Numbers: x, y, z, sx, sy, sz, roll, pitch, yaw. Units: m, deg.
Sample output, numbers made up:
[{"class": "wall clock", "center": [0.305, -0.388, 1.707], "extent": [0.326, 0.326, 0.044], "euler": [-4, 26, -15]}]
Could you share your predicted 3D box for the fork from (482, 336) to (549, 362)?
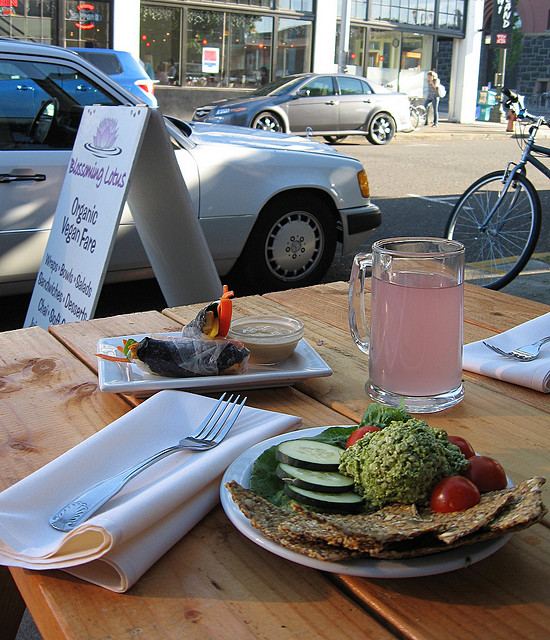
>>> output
[{"class": "fork", "center": [0.492, 0.045, 1.081], "extent": [0.197, 0.032, 0.035], "euler": [-10, 19, -25]}]

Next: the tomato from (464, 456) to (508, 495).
[{"class": "tomato", "center": [0.197, 0.144, 0.522], "extent": [0.032, 0.020, 0.037], "euler": [7, 7, -9]}]

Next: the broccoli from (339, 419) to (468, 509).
[{"class": "broccoli", "center": [0.108, 0.129, 0.498], "extent": [0.082, 0.034, 0.097], "euler": [-11, 9, 30]}]

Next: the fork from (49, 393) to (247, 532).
[{"class": "fork", "center": [-0.106, 0.146, 0.697], "extent": [0.052, 0.048, 0.364], "euler": [23, 30, 30]}]

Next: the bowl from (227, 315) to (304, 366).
[{"class": "bowl", "center": [-0.033, 0.049, 1.031], "extent": [0.151, 0.058, 0.136], "euler": [-1, 7, -15]}]

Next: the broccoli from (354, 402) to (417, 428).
[{"class": "broccoli", "center": [0.124, 0.096, 0.605], "extent": [0.055, 0.012, 0.050], "euler": [-6, 7, -35]}]

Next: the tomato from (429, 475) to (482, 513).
[{"class": "tomato", "center": [0.154, 0.152, 0.475], "extent": [0.040, 0.026, 0.035], "euler": [9, 16, 24]}]

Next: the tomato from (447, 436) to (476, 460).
[{"class": "tomato", "center": [0.189, 0.127, 0.567], "extent": [0.028, 0.017, 0.028], "euler": [4, 12, -2]}]

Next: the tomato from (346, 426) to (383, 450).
[{"class": "tomato", "center": [0.088, 0.119, 0.577], "extent": [0.030, 0.017, 0.033], "euler": [-6, 8, 11]}]

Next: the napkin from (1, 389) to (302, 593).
[{"class": "napkin", "center": [-0.149, 0.164, 0.607], "extent": [0.147, 0.045, 0.253], "euler": [8, 15, 27]}]
